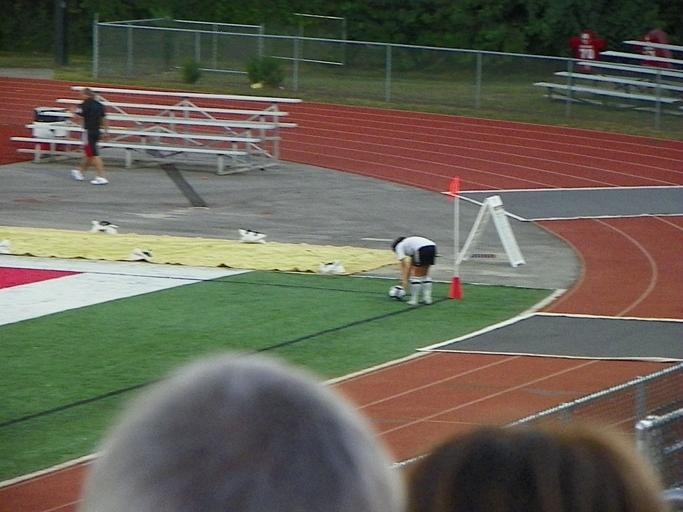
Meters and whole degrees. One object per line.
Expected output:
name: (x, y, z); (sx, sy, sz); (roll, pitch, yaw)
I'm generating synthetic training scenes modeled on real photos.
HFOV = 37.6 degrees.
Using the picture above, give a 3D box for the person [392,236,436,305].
person: (0.827, 0.156, 11.122); (0.407, 0.727, 0.442); (-8, 17, -32)

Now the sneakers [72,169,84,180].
sneakers: (-5.140, -1.591, 19.586); (0.179, 0.124, 0.410); (2, 18, -41)
